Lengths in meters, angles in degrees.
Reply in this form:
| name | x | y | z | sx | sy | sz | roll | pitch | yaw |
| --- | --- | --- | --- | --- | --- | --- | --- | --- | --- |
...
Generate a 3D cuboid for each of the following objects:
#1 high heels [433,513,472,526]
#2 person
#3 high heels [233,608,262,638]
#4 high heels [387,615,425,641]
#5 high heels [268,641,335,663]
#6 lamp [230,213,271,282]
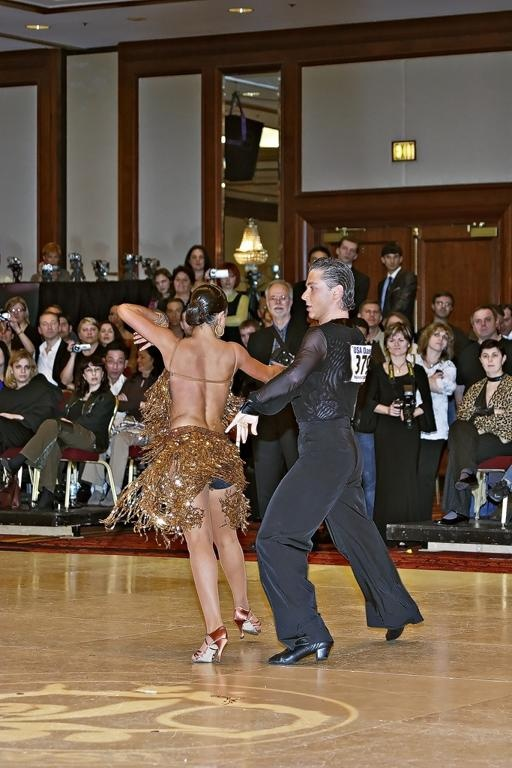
| name | x | y | z | sx | sy | sz | roll | pitch | yaw |
| --- | --- | --- | --- | --- | --- | --- | --- | --- | --- |
| high heels | 1.707 | 1.181 | 6.284 | 0.322 | 0.124 | 0.111 | 4 | -5 | -7 |
| person | 0.063 | 0.323 | 3.153 | 1.068 | 1.614 | 0.904 | 2 | 0 | -42 |
| high heels | -0.021 | 1.079 | 3.254 | 0.078 | 0.103 | 0.208 | -2 | -9 | 12 |
| high heels | 0.674 | 1.099 | 3.251 | 0.159 | 0.057 | 0.112 | -32 | 9 | -12 |
| high heels | 0.175 | 1.035 | 2.821 | 0.268 | 0.106 | 0.093 | 0 | -8 | -2 |
| lamp | -0.073 | -2.321 | 12.191 | 0.519 | 0.909 | 0.501 | -5 | 10 | -32 |
